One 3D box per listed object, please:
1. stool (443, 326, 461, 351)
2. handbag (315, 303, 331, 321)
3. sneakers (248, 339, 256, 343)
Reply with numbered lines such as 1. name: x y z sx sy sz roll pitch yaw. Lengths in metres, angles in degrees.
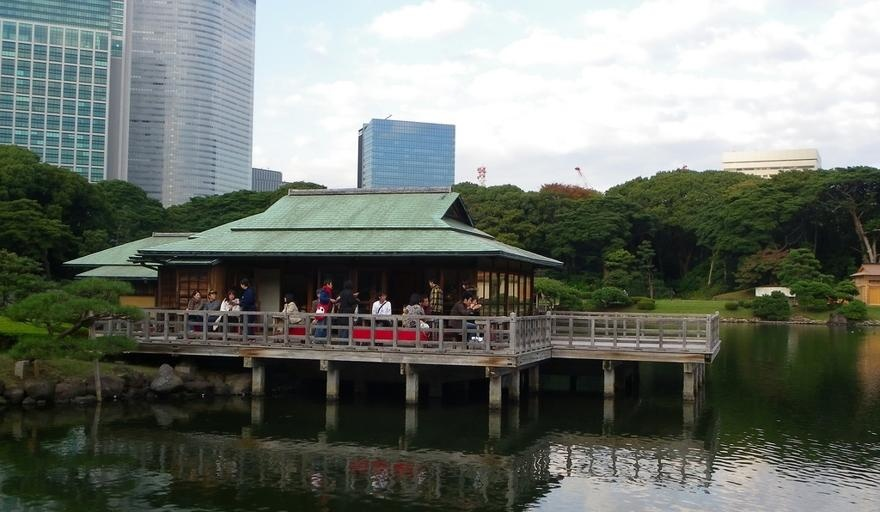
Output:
1. stool: 0.714 4.208 43.997 1.195 0.915 1.120 -1 1 21
2. handbag: -6.047 2.883 44.018 1.013 1.092 0.668 1 -13 3
3. sneakers: -9.864 4.446 44.550 0.396 0.214 0.192 -1 -12 -4
